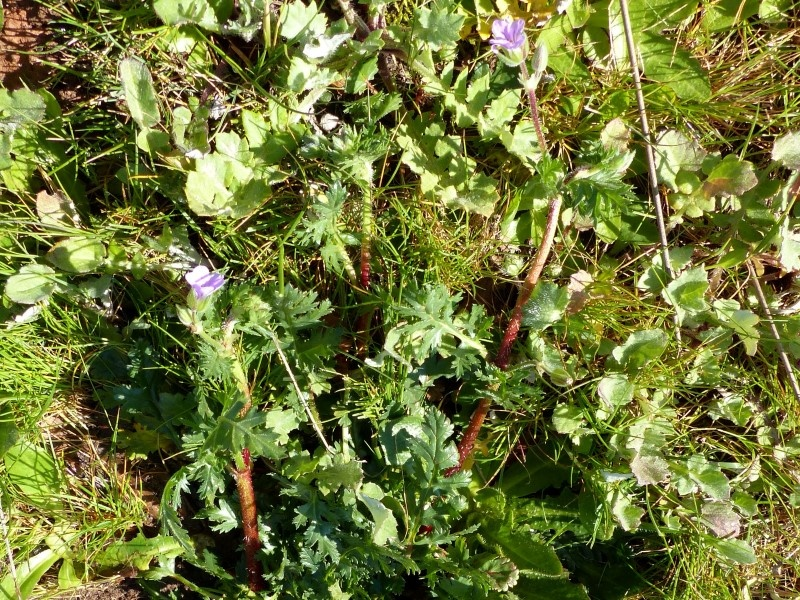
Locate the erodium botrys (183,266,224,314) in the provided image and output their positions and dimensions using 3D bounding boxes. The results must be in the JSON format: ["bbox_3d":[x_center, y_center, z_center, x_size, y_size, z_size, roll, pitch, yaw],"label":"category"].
[{"bbox_3d":[-0.467,-0.043,1.542,0.092,0.076,0.084,-39,74,-24],"label":"erodium botrys"}]
